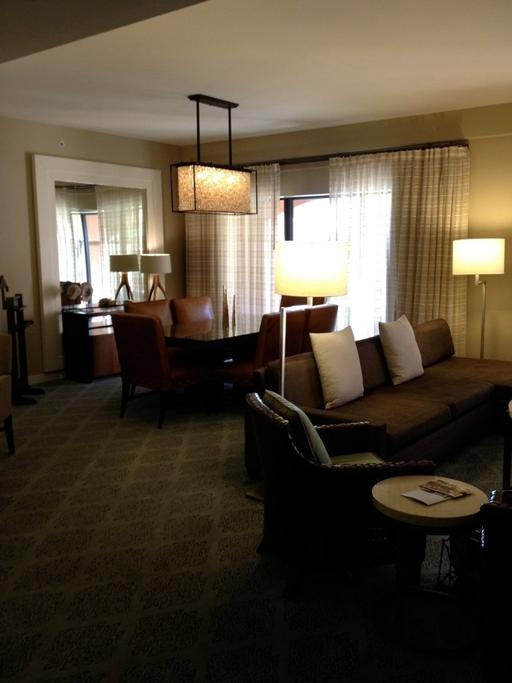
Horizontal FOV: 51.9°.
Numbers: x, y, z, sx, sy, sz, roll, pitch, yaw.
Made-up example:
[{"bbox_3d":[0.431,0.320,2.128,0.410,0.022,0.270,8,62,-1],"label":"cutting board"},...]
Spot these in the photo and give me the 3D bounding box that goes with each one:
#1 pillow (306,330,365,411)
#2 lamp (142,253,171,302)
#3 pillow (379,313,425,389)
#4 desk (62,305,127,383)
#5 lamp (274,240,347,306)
[{"bbox_3d":[0.479,0.198,3.170,0.139,0.398,0.403,-19,-2,35],"label":"pillow"},{"bbox_3d":[-1.244,-0.789,6.528,0.385,0.569,0.372,-10,16,-42],"label":"lamp"},{"bbox_3d":[1.100,0.097,3.929,0.413,0.465,0.223,-36,22,-29],"label":"pillow"},{"bbox_3d":[-1.832,0.022,6.053,0.432,0.737,0.807,-1,2,21],"label":"desk"},{"bbox_3d":[0.256,-0.350,2.639,0.296,0.486,0.301,-1,18,-5],"label":"lamp"}]
